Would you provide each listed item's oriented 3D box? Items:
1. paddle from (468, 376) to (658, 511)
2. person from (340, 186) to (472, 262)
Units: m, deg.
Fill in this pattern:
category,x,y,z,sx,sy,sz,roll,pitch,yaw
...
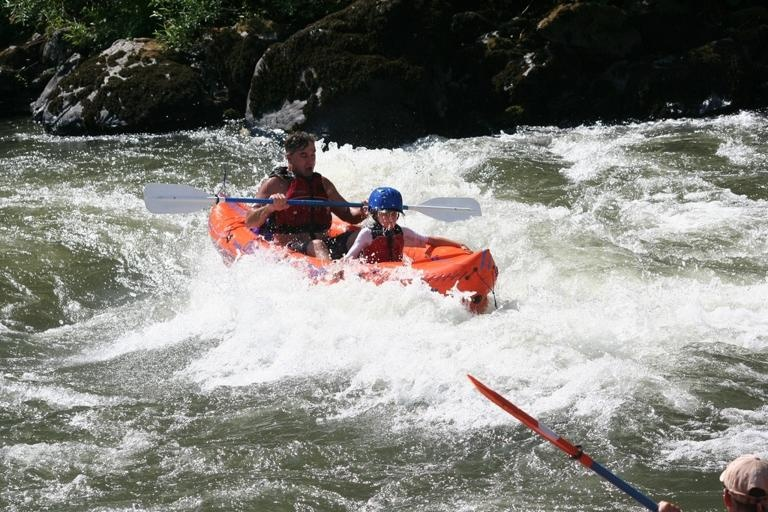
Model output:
category,x,y,z,sx,sy,sz,roll,pitch,yaw
paddle,2.144,2.296,13.042,2.278,0.245,0.221,40,24,1
person,0.066,-0.447,14.959,0.917,0.681,1.557,-3,7,-15
